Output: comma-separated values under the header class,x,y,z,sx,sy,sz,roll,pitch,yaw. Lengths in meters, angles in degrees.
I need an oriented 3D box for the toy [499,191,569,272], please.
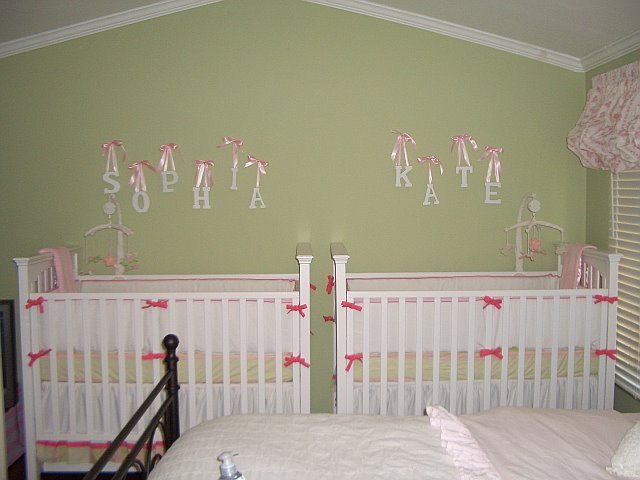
class,x,y,z,sx,sy,sz,roll,pitch,yaw
toy,1.664,-0.094,4.368,0.575,0.827,0.343,-1,-3,-1
